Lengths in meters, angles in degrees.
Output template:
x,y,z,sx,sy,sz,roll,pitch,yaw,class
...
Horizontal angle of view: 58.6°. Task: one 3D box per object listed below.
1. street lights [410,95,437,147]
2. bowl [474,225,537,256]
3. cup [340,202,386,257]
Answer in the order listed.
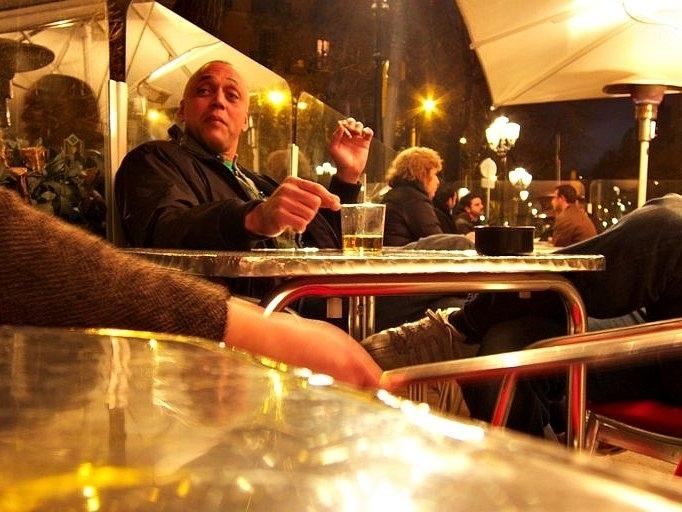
x,y,z,sx,sy,sz,roll,pitch,yaw,class
0.662,-1.134,5.031,0.233,0.415,0.189,-3,10,-26,street lights
0.329,-0.030,1.199,0.087,0.038,0.063,2,1,0,bowl
0.043,-0.055,1.246,0.094,0.114,0.095,0,5,0,cup
